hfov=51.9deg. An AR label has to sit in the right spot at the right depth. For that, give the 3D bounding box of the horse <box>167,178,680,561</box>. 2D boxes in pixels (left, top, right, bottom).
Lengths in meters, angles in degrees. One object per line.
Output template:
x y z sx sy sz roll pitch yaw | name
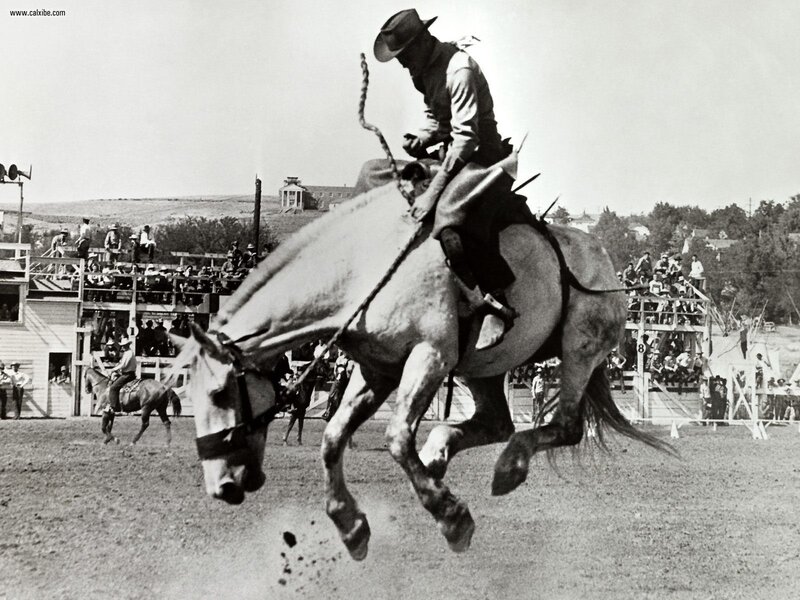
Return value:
0.067 0.567 7.224 3.958 3.235 1.216 -1 0 -28 | horse

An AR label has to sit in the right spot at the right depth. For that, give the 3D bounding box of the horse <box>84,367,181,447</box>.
-5.950 2.304 17.918 2.324 1.694 0.720 1 -6 11 | horse

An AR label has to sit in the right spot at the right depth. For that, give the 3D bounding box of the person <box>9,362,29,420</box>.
-9.813 2.273 21.199 0.413 1.330 0.851 0 0 -25 | person
